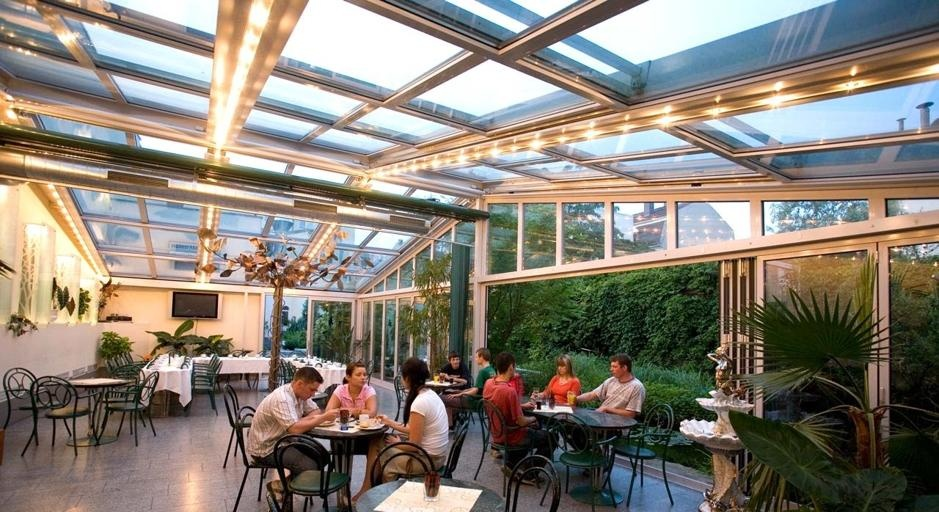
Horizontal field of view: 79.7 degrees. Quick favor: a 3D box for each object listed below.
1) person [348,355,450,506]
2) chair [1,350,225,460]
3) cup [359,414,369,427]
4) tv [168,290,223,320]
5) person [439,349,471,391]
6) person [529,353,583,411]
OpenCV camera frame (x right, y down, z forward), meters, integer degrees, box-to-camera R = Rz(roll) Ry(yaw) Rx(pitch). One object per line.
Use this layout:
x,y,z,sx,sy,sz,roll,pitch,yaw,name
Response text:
-0.786,2.229,7.410,1.012,1.742,1.394,6,-10,-35,person
-7.293,2.790,10.850,3.131,1.387,4.255,0,-8,-1,chair
-1.444,2.224,7.615,0.143,0.106,0.129,0,-3,2,cup
-8.153,1.425,16.599,1.067,0.577,0.101,2,-2,-19,tv
-0.292,2.394,11.493,0.692,0.701,0.693,-5,-20,2,person
1.464,2.160,9.615,0.976,0.826,0.866,-4,-6,29,person
